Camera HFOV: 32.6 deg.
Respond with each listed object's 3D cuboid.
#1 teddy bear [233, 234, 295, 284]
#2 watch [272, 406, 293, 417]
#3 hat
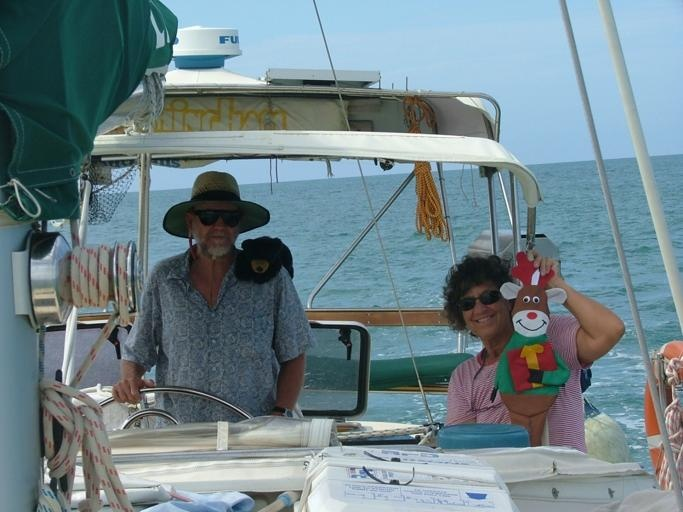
[{"bbox_3d":[-0.398,0.053,5.660,0.199,0.257,0.117,5,29,2],"label":"teddy bear"},{"bbox_3d":[-0.274,0.729,5.414,0.076,0.049,0.083,-17,-26,17],"label":"watch"},{"bbox_3d":[-0.616,-0.308,5.772,0.421,0.184,0.402,3,1,23],"label":"hat"}]
